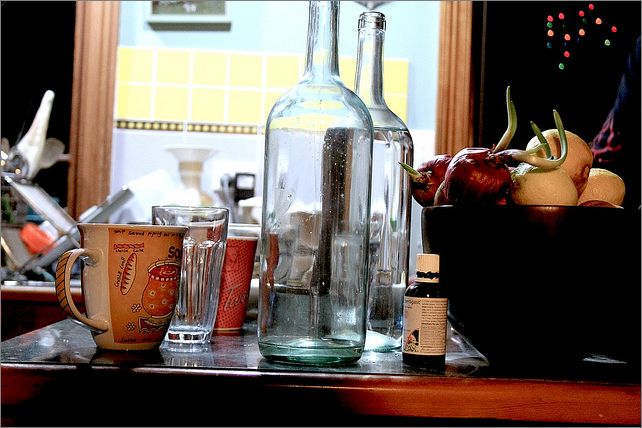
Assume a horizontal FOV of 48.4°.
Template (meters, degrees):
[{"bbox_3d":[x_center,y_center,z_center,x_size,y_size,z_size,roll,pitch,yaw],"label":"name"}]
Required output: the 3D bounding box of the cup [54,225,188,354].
[{"bbox_3d":[-0.259,0.089,0.858,0.126,0.143,0.185,-5,-8,18],"label":"cup"}]

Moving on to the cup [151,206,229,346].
[{"bbox_3d":[-0.146,0.094,0.951,0.102,0.164,0.103,10,-20,4],"label":"cup"}]

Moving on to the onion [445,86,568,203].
[{"bbox_3d":[0.227,-0.063,0.854,0.148,0.147,0.094,14,4,36],"label":"onion"}]
